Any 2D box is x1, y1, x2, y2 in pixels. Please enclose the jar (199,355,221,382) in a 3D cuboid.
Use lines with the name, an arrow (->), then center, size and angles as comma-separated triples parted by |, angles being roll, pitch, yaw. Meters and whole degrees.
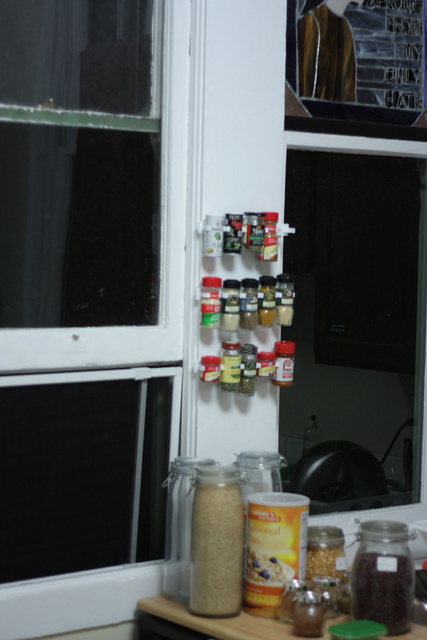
jar -> -0.007, 0.098, 1.231 | 0.041, 0.057, 0.046 | 0, 3, -21

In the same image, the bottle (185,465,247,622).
bottle -> 0.007, 0.389, 1.053 | 0.093, 0.277, 0.101 | 1, 10, 0

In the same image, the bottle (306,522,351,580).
bottle -> 0.219, 0.477, 1.130 | 0.068, 0.128, 0.065 | -4, -8, 0

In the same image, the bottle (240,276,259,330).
bottle -> 0.084, -0.034, 1.266 | 0.034, 0.086, 0.064 | 1, -1, 40

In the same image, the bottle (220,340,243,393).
bottle -> 0.038, 0.100, 1.283 | 0.049, 0.087, 0.084 | 2, 0, 3

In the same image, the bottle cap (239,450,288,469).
bottle cap -> 0.105, 0.282, 1.195 | 0.061, 0.023, 0.053 | 0, 2, -25

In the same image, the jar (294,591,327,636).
jar -> 0.155, 0.474, 0.941 | 0.043, 0.073, 0.047 | -2, 4, 0

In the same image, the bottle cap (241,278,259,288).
bottle cap -> 0.077, -0.079, 1.241 | 0.021, 0.015, 0.022 | 8, 4, 34

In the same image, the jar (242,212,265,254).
jar -> 0.087, -0.190, 1.276 | 0.043, 0.089, 0.052 | 5, 7, -2

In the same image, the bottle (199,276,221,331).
bottle -> -0.006, -0.042, 1.230 | 0.053, 0.114, 0.057 | 3, 16, -1

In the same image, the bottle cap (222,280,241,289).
bottle cap -> 0.038, -0.074, 1.226 | 0.035, 0.014, 0.027 | 2, 0, -8

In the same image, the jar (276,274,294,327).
jar -> 0.160, -0.036, 1.304 | 0.038, 0.120, 0.044 | 0, 12, 1

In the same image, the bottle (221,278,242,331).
bottle -> 0.040, -0.033, 1.266 | 0.044, 0.091, 0.111 | 2, 0, 1

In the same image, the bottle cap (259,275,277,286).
bottle cap -> 0.118, -0.084, 1.270 | 0.034, 0.016, 0.026 | 2, 0, -5

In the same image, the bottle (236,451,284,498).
bottle -> 0.091, 0.298, 1.186 | 0.075, 0.125, 0.065 | -4, 5, -40

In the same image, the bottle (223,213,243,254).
bottle -> 0.053, -0.186, 1.270 | 0.038, 0.086, 0.045 | 5, 4, 3

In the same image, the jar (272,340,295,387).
jar -> 0.159, 0.097, 1.328 | 0.045, 0.102, 0.049 | 2, 13, 0

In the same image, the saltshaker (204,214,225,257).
saltshaker -> -0.001, -0.175, 1.247 | 0.039, 0.087, 0.043 | 7, -6, -25

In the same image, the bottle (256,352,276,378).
bottle -> 0.117, 0.098, 1.281 | 0.038, 0.056, 0.051 | 1, -3, -12
